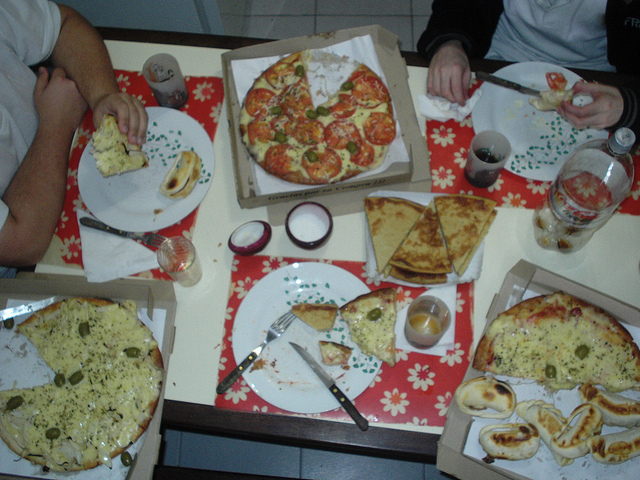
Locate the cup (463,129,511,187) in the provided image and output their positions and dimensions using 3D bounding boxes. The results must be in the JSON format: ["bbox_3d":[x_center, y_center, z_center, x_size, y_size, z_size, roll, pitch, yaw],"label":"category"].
[{"bbox_3d":[0.940,-0.469,3.217,0.218,0.280,0.311,-2,66,5],"label":"cup"}]

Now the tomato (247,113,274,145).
[{"bbox_3d":[-0.360,-0.659,3.360,0.145,0.046,0.194,-17,75,-6],"label":"tomato"}]

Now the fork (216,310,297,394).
[{"bbox_3d":[-0.339,0.579,2.957,0.071,0.045,0.554,43,78,11],"label":"fork"}]

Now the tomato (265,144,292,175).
[{"bbox_3d":[-0.246,-0.460,3.304,0.148,0.049,0.193,-9,75,-4],"label":"tomato"}]

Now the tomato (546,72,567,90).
[{"bbox_3d":[1.434,-0.963,3.448,0.083,0.028,0.131,-3,72,1],"label":"tomato"}]

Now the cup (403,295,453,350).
[{"bbox_3d":[0.549,0.419,2.972,0.193,0.197,0.307,3,80,3],"label":"cup"}]

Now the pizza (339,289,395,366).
[{"bbox_3d":[0.306,0.451,2.997,0.312,0.449,0.071,-17,22,8],"label":"pizza"}]

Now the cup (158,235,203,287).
[{"bbox_3d":[-0.771,0.109,3.136,0.172,0.207,0.316,-14,73,-10],"label":"cup"}]
